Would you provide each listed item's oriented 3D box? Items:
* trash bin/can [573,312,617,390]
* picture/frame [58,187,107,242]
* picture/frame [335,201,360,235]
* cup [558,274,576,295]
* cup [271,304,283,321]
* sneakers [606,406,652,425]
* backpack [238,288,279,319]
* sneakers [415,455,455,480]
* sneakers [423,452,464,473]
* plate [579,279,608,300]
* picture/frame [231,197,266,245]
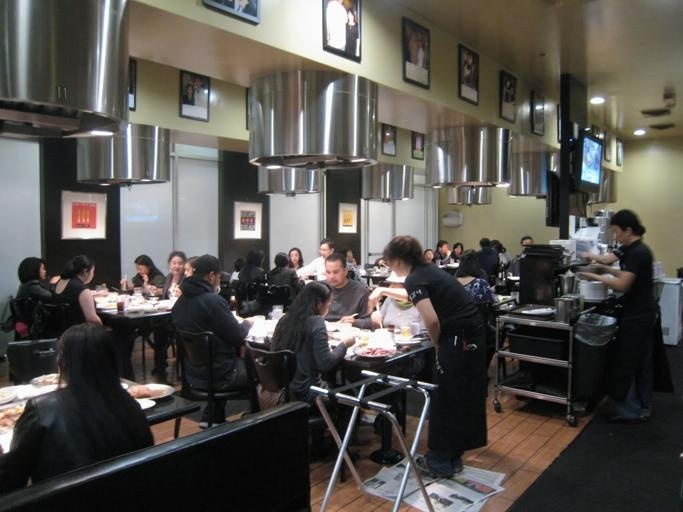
[{"bbox_3d":[2.184,0.856,4.635,0.292,0.634,0.471,4,8,29],"label":"trash bin/can"},{"bbox_3d":[-3.209,-0.526,6.572,0.059,0.754,0.703,-1,-1,35],"label":"picture/frame"},{"bbox_3d":[0.092,-0.755,10.354,0.065,0.696,0.678,2,2,41],"label":"picture/frame"},{"bbox_3d":[2.095,0.253,4.980,0.169,0.222,0.202,-1,-3,41],"label":"cup"},{"bbox_3d":[-0.563,0.498,4.730,0.144,0.152,0.119,0,4,3],"label":"cup"},{"bbox_3d":[2.496,1.395,4.621,0.256,0.139,0.165,-6,-6,9],"label":"sneakers"},{"bbox_3d":[-0.924,0.527,5.826,0.378,0.267,0.387,-5,11,40],"label":"backpack"},{"bbox_3d":[0.635,1.456,3.702,0.276,0.133,0.122,11,9,26],"label":"sneakers"},{"bbox_3d":[0.703,1.426,3.657,0.223,0.122,0.150,4,5,41],"label":"sneakers"},{"bbox_3d":[2.490,0.337,5.267,0.262,0.192,0.269,1,6,17],"label":"plate"},{"bbox_3d":[-1.512,-0.588,8.543,0.072,0.762,0.740,5,6,39],"label":"picture/frame"}]
